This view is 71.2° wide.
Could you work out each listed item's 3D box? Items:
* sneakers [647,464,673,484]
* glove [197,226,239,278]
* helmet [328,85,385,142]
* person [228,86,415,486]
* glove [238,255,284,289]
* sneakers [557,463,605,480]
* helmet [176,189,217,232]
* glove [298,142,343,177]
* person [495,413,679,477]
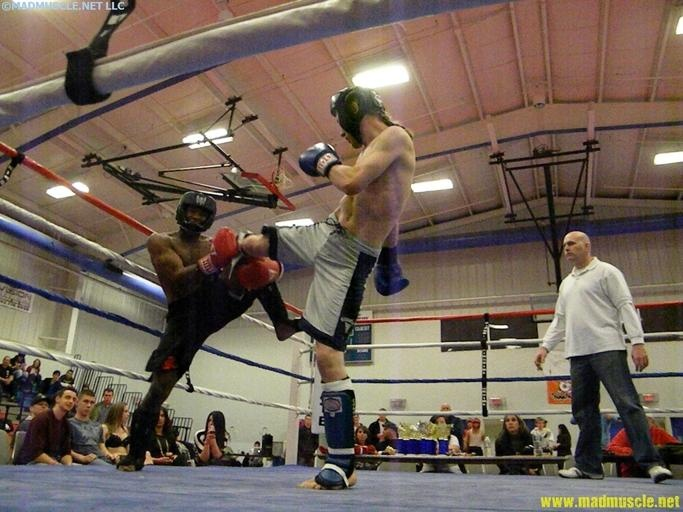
[{"bbox_3d":[1.572,1.067,2.343,0.079,0.079,0.185,-5,-28,9],"label":"sneakers"},{"bbox_3d":[-0.558,-0.015,2.255,0.229,0.180,0.105,-41,-14,1],"label":"glove"},{"bbox_3d":[0.066,-0.658,2.340,0.301,0.253,0.223,-8,-12,-3],"label":"helmet"},{"bbox_3d":[-0.040,0.042,2.129,0.697,1.796,0.679,2,-23,7],"label":"person"},{"bbox_3d":[-0.384,0.079,2.256,0.180,0.137,0.083,-33,-6,-21],"label":"glove"},{"bbox_3d":[1.352,1.225,2.689,0.216,0.085,0.075,0,-16,17],"label":"sneakers"},{"bbox_3d":[-0.757,-0.206,2.562,0.199,0.203,0.235,19,-22,-15],"label":"helmet"},{"bbox_3d":[-0.101,-0.430,2.125,0.160,0.199,0.102,-23,-61,-7],"label":"glove"},{"bbox_3d":[2.011,1.377,3.398,0.549,0.390,2.582,-10,-25,32],"label":"person"}]
